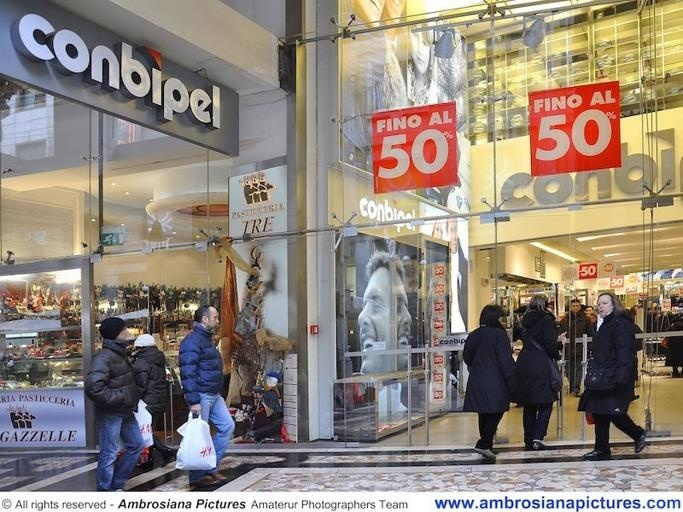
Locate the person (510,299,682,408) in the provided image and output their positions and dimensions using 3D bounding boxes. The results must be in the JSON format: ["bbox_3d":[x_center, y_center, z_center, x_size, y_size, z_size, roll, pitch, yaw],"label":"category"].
[{"bbox_3d":[3.268,1.258,8.216,1.306,1.358,0.490,-4,-14,45],"label":"person"}]

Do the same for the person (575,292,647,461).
[{"bbox_3d":[3.140,1.389,7.663,0.692,1.915,0.523,-3,-5,19],"label":"person"}]

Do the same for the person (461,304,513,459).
[{"bbox_3d":[1.809,1.520,8.011,0.626,1.841,0.359,-3,-5,15],"label":"person"}]

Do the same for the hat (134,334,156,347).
[{"bbox_3d":[-2.599,1.097,8.536,0.204,0.140,0.202,3,-3,-38],"label":"hat"}]

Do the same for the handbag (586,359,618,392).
[{"bbox_3d":[3.014,1.380,7.547,0.284,0.307,0.124,-5,-28,37],"label":"handbag"}]

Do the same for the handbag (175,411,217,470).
[{"bbox_3d":[-1.439,1.922,7.033,0.402,0.611,0.290,-13,8,46],"label":"handbag"}]

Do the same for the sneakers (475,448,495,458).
[{"bbox_3d":[1.741,2.379,7.941,0.175,0.074,0.066,25,-32,25],"label":"sneakers"}]

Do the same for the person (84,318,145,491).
[{"bbox_3d":[-2.505,1.620,7.141,0.647,1.898,0.415,3,-7,-41],"label":"person"}]
